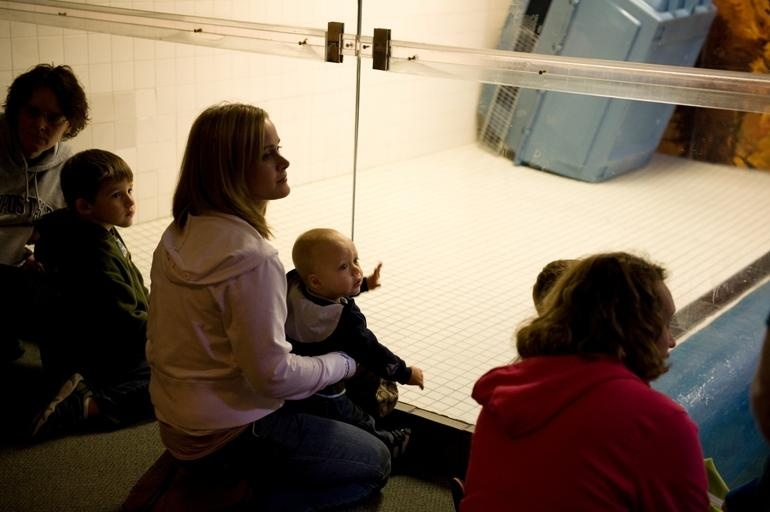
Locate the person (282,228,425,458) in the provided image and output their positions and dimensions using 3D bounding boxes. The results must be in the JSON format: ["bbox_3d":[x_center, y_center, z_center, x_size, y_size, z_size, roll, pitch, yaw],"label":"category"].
[{"bbox_3d":[-0.108,0.308,1.911,0.486,0.787,0.522,-13,33,-22],"label":"person"}]

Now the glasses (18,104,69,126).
[{"bbox_3d":[-1.460,-0.589,2.341,0.106,0.050,0.131,18,5,-18],"label":"glasses"}]
